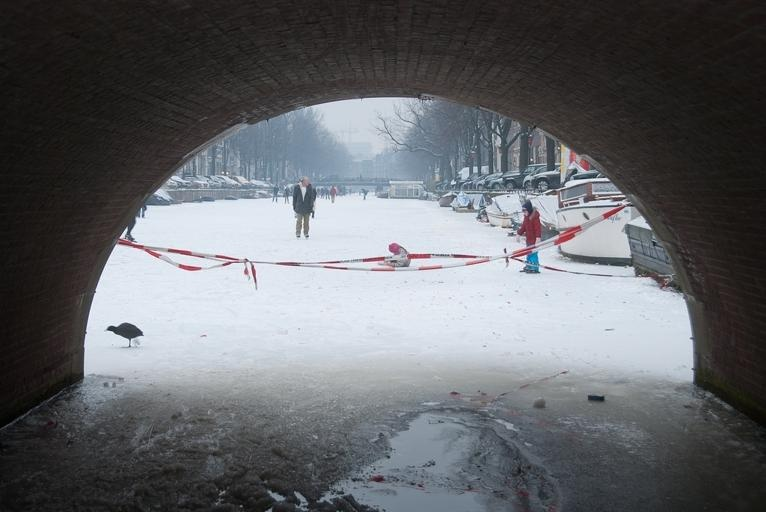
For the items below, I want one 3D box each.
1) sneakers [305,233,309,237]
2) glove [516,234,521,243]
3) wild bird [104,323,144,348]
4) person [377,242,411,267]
[{"bbox_3d":[-2.991,-0.814,22.620,0.189,0.073,0.233,0,-3,-6],"label":"sneakers"},{"bbox_3d":[4.133,-0.535,17.678,0.118,0.395,0.451,3,9,18],"label":"glove"},{"bbox_3d":[-3.528,1.107,8.228,0.729,0.377,0.318,1,-3,-9],"label":"wild bird"},{"bbox_3d":[0.289,-0.027,15.901,0.932,0.523,1.508,0,0,6],"label":"person"}]
